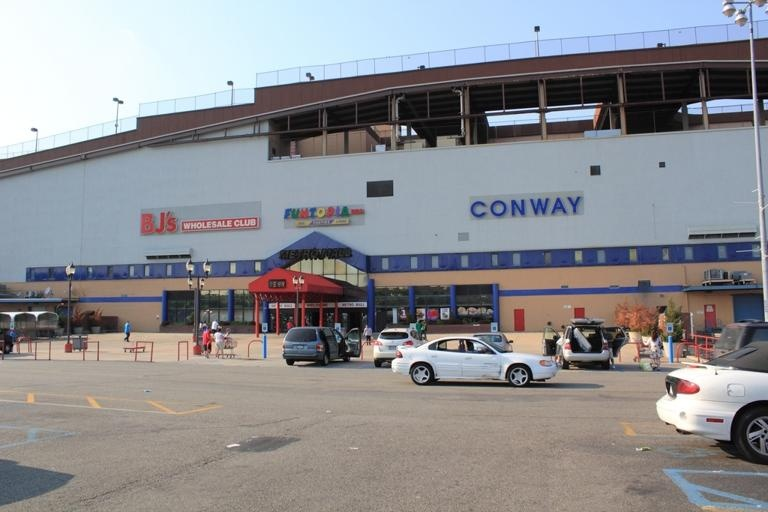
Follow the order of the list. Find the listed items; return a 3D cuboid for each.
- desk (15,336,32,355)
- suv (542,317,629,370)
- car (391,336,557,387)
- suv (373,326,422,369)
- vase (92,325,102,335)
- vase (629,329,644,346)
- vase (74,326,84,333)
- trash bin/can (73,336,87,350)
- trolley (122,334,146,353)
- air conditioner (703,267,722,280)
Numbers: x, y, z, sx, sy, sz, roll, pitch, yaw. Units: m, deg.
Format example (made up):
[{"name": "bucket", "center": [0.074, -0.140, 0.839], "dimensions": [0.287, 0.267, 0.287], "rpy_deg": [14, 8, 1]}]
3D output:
[{"name": "desk", "center": [-26.994, 6.744, 54.281], "dimensions": [0.706, 0.915, 0.919], "rpy_deg": [-5, -7, 41]}, {"name": "suv", "center": [10.703, 4.725, 39.349], "dimensions": [2.494, 1.867, 4.202], "rpy_deg": [-1, -1, 7]}, {"name": "car", "center": [3.741, 4.733, 32.489], "dimensions": [5.937, 1.977, 2.868], "rpy_deg": [-3, -6, 7]}, {"name": "suv", "center": [0.415, 4.796, 40.383], "dimensions": [2.130, 2.254, 4.055], "rpy_deg": [-3, 9, 1]}, {"name": "vase", "center": [-28.218, 7.298, 71.151], "dimensions": [0.570, 0.612, 0.735], "rpy_deg": [-1, -2, -1]}, {"name": "vase", "center": [17.011, 5.579, 49.143], "dimensions": [0.895, 0.965, 1.126], "rpy_deg": [0, 2, -10]}, {"name": "vase", "center": [-29.429, 7.167, 69.919], "dimensions": [0.544, 0.512, 0.640], "rpy_deg": [0, 2, -4]}, {"name": "trash bin/can", "center": [-20.285, 5.832, 48.332], "dimensions": [0.934, 1.015, 0.767], "rpy_deg": [1, 2, 14]}, {"name": "trolley", "center": [-19.651, 6.919, 56.873], "dimensions": [0.938, 0.850, 1.812], "rpy_deg": [0, -8, 1]}, {"name": "air conditioner", "center": [27.111, 1.532, 59.955], "dimensions": [1.315, 0.839, 0.966], "rpy_deg": [-4, -3, 25]}]
